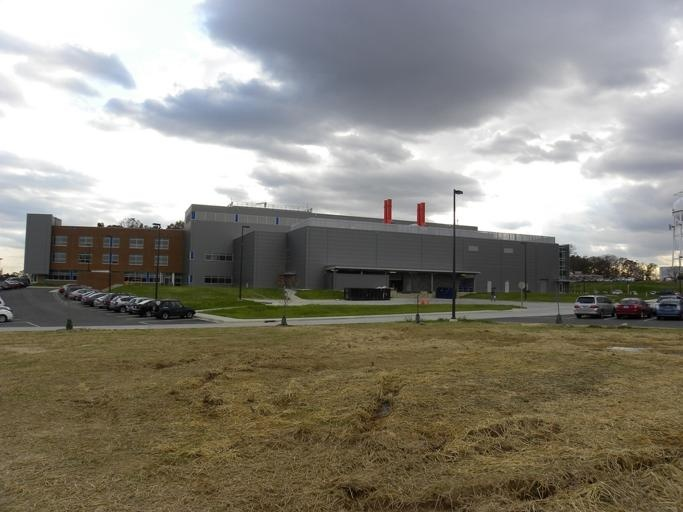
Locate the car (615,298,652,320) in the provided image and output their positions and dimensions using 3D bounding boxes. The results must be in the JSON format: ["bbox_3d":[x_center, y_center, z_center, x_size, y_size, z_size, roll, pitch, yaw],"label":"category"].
[{"bbox_3d":[19.666,3.606,36.799,1.429,0.914,3.088,-1,0,40],"label":"car"}]

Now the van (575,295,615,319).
[{"bbox_3d":[17.507,3.540,37.678,1.610,0.995,3.454,-1,1,44],"label":"van"}]
